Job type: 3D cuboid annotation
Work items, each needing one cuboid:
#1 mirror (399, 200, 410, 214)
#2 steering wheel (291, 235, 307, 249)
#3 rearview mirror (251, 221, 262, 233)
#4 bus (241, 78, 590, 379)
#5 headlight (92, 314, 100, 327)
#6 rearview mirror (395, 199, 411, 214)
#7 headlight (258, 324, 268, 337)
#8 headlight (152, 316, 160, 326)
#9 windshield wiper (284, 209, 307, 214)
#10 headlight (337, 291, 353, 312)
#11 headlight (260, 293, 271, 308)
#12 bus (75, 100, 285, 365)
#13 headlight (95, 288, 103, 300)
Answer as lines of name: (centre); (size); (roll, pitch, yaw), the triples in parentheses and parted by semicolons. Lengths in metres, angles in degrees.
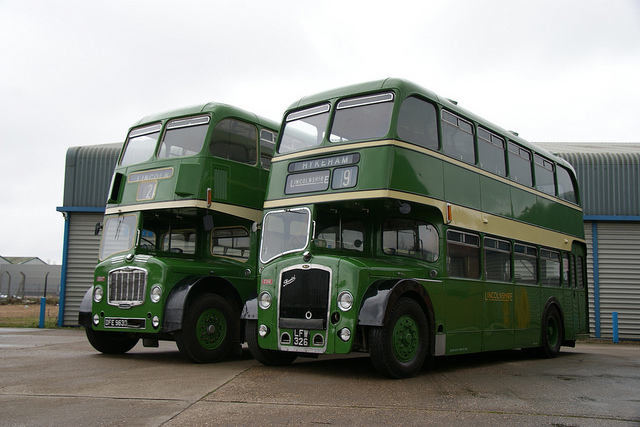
mirror: (1.739, -0.157, 10.185); (0.216, 0.163, 0.385); (-1, 2, 7)
steering wheel: (-0.435, 0.579, 10.310); (0.260, 0.281, 0.098); (4, -14, 24)
rearview mirror: (-1.653, 0.320, 12.826); (0.314, 0.187, 0.181); (-15, -13, 34)
bus: (3.577, 0.691, 13.898); (3.790, 6.202, 11.287); (-2, -8, 45)
headlight: (-5.478, 2.589, 12.130); (0.186, 0.272, 0.061); (1, 1, 30)
rearview mirror: (1.730, -0.125, 10.289); (0.253, 0.065, 0.272); (0, -42, 30)
headlight: (-1.158, 2.367, 10.139); (0.253, 0.309, 0.153); (-1, -2, 38)
headlight: (-3.771, 2.449, 11.389); (0.151, 0.217, 0.054); (3, -4, 9)
windshield wiper: (-0.535, -0.050, 10.512); (0.560, 0.076, 0.028); (4, 4, 33)
headlight: (0.484, 1.647, 9.380); (0.352, 0.412, 0.154); (-1, -5, 22)
headlight: (-1.121, 1.765, 10.208); (0.231, 0.251, 0.057); (-1, -5, 36)
bus: (-3.151, 0.673, 12.105); (2.668, 4.286, 6.086); (-4, -8, 30)
headlight: (-5.434, 1.952, 12.180); (0.216, 0.247, 0.049); (0, -5, 16)
